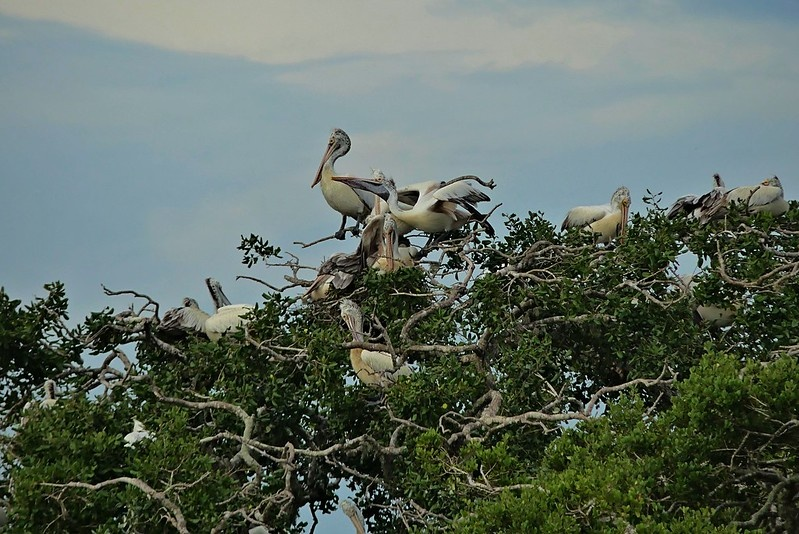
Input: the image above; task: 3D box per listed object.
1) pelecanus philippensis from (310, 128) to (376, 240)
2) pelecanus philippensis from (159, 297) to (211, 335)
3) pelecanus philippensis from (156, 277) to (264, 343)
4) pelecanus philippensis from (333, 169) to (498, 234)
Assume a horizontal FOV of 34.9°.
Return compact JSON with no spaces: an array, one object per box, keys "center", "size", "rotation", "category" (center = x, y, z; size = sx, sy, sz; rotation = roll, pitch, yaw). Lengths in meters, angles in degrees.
[{"center":[-1.051,-1.691,25.296],"size":[1.506,2.236,0.779],"rotation":[2,-11,-42],"category":"pelecanus philippensis"},{"center":[-3.870,0.887,22.543],"size":[0.668,0.804,1.066],"rotation":[0,-9,26],"category":"pelecanus philippensis"},{"center":[-3.044,0.915,20.463],"size":[2.236,1.322,0.796],"rotation":[-1,-6,36],"category":"pelecanus philippensis"},{"center":[0.575,-1.181,23.654],"size":[1.794,0.734,1.769],"rotation":[-1,2,-37],"category":"pelecanus philippensis"}]
